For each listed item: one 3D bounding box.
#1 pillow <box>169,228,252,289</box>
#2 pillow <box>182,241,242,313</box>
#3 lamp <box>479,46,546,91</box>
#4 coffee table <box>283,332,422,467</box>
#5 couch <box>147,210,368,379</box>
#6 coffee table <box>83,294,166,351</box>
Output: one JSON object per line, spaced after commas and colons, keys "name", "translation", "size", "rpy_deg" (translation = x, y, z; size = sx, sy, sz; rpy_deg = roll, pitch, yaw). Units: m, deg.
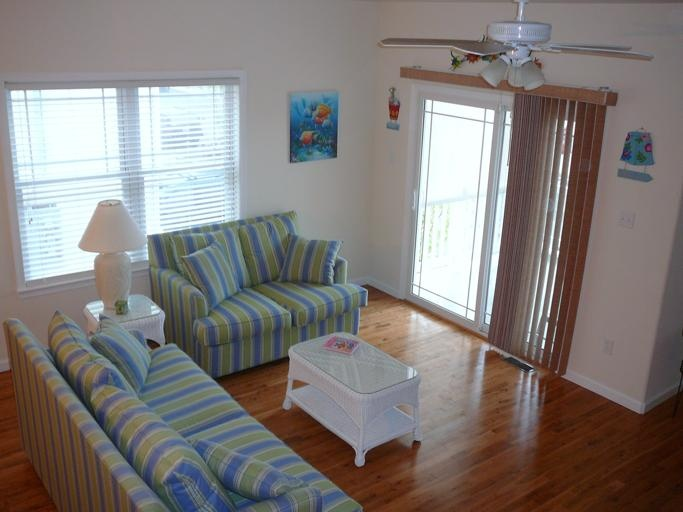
{"name": "pillow", "translation": [-1.198, -0.032, 5.181], "size": [0.597, 0.612, 0.221], "rpy_deg": [-11, -20, -46]}
{"name": "pillow", "translation": [-1.207, 0.203, 4.914], "size": [0.260, 0.472, 0.519], "rpy_deg": [4, 17, 26]}
{"name": "lamp", "translation": [0.942, -0.958, 2.902], "size": [0.259, 0.235, 0.275], "rpy_deg": [-17, 45, -27]}
{"name": "coffee table", "translation": [0.064, 1.124, 4.396], "size": [0.743, 0.629, 1.026], "rpy_deg": [-9, 19, -38]}
{"name": "couch", "translation": [-0.830, 0.338, 5.401], "size": [1.755, 1.244, 1.261], "rpy_deg": [-11, 19, -41]}
{"name": "coffee table", "translation": [-1.870, 0.393, 4.611], "size": [0.429, 0.556, 0.562], "rpy_deg": [-9, 28, -34]}
